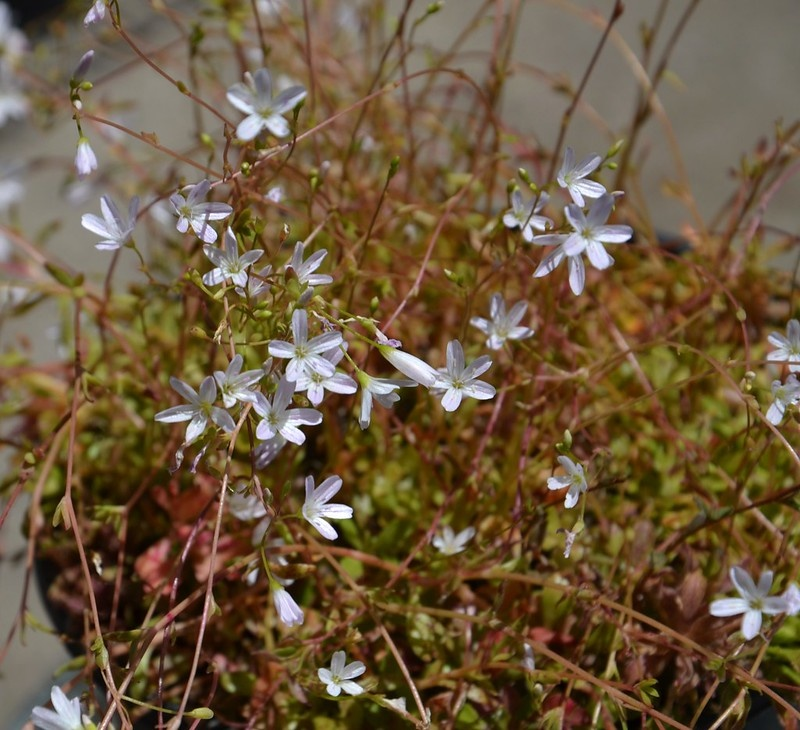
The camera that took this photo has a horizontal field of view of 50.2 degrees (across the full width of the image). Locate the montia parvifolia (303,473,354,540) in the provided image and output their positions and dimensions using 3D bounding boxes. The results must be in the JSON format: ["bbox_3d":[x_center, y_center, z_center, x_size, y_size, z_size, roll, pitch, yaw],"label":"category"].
[{"bbox_3d":[-0.054,0.102,0.649,0.023,0.043,0.050,6,-84,56],"label":"montia parvifolia"}]
